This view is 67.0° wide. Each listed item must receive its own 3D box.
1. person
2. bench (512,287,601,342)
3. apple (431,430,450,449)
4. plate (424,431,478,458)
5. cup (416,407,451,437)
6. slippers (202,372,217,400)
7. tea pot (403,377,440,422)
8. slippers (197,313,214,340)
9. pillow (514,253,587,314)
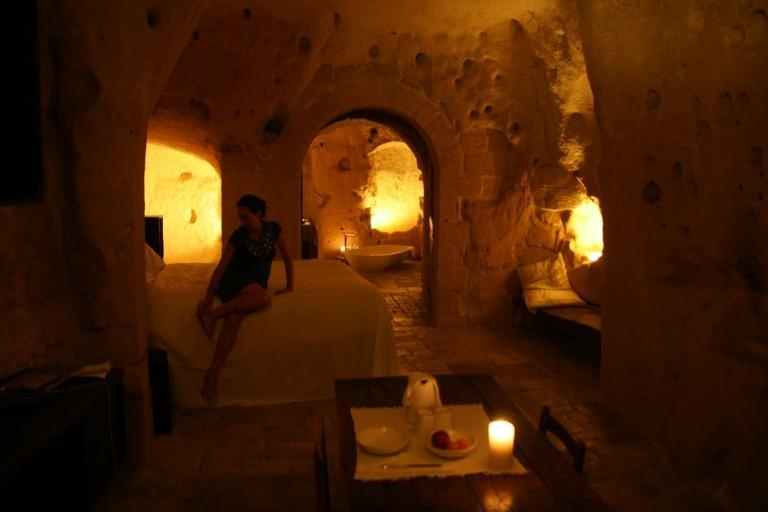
[{"bbox_3d":[-1.084,0.278,4.478,0.590,1.277,1.249,9,27,4],"label":"person"},{"bbox_3d":[1.944,0.685,6.156,0.502,0.387,1.390,0,4,-14],"label":"bench"},{"bbox_3d":[0.283,0.898,2.827,0.063,0.087,0.085,-2,28,41],"label":"apple"},{"bbox_3d":[0.331,0.926,2.830,0.152,0.047,0.156,1,4,26],"label":"plate"},{"bbox_3d":[0.263,0.861,3.020,0.159,0.092,0.102,-4,7,-20],"label":"cup"},{"bbox_3d":[-1.331,0.996,4.436,0.113,0.221,0.059,4,1,-3],"label":"slippers"},{"bbox_3d":[0.204,0.794,3.240,0.205,0.260,0.179,-3,-2,40],"label":"tea pot"},{"bbox_3d":[-1.366,0.543,4.469,0.123,0.200,0.075,0,4,-16],"label":"slippers"},{"bbox_3d":[1.833,0.295,6.490,0.573,0.603,0.196,-13,-37,14],"label":"pillow"}]
